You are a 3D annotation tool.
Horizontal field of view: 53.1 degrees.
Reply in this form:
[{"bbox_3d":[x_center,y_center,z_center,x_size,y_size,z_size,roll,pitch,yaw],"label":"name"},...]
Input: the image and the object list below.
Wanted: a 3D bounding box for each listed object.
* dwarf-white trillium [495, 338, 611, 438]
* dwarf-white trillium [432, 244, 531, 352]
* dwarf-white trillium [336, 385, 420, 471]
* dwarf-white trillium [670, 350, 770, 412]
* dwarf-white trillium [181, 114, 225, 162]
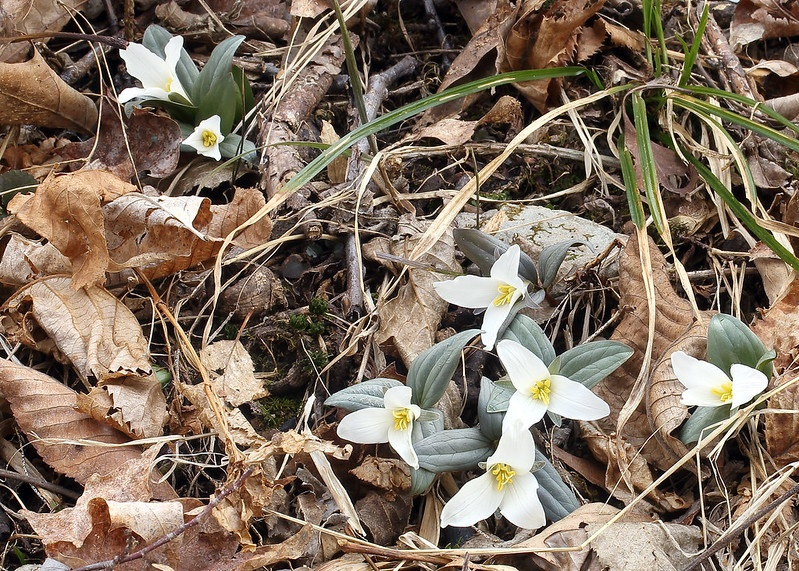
[{"bbox_3d":[0.412,0.290,2.396,0.136,0.460,0.262,-18,89,-52],"label":"dwarf-white trillium"},{"bbox_3d":[0.268,0.000,2.446,0.231,0.205,0.243,-40,67,-23],"label":"dwarf-white trillium"},{"bbox_3d":[-0.047,0.417,2.353,0.263,0.105,0.211,-3,98,5],"label":"dwarf-white trillium"},{"bbox_3d":[0.951,0.336,2.448,0.297,0.243,0.128,8,57,3],"label":"dwarf-white trillium"},{"bbox_3d":[-0.696,-0.532,2.889,0.145,0.091,0.161,-22,94,9],"label":"dwarf-white trillium"}]
